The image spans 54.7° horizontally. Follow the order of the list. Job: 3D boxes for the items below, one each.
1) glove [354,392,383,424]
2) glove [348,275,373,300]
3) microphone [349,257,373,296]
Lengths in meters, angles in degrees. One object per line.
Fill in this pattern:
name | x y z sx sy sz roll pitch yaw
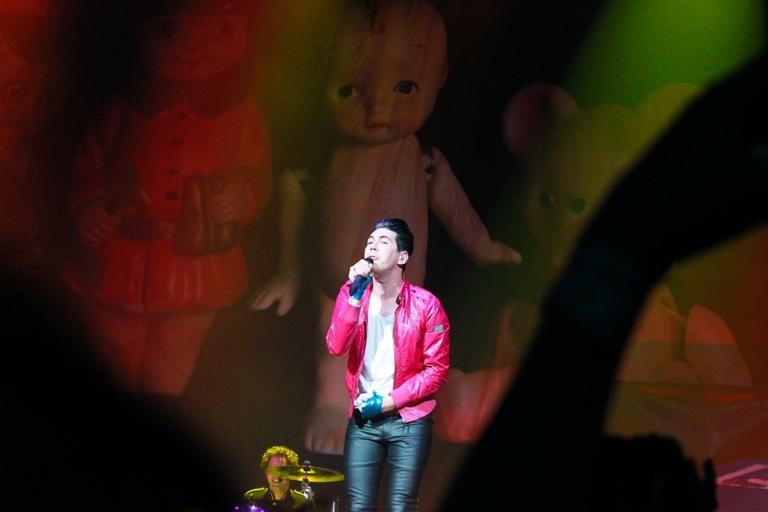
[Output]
glove | -0.068 1.019 4.959 0.146 0.231 0.138 4 1 -28
glove | -0.163 0.211 4.931 0.095 0.195 0.062 11 -5 7
microphone | -0.147 0.144 4.972 0.113 0.219 0.220 20 34 8
